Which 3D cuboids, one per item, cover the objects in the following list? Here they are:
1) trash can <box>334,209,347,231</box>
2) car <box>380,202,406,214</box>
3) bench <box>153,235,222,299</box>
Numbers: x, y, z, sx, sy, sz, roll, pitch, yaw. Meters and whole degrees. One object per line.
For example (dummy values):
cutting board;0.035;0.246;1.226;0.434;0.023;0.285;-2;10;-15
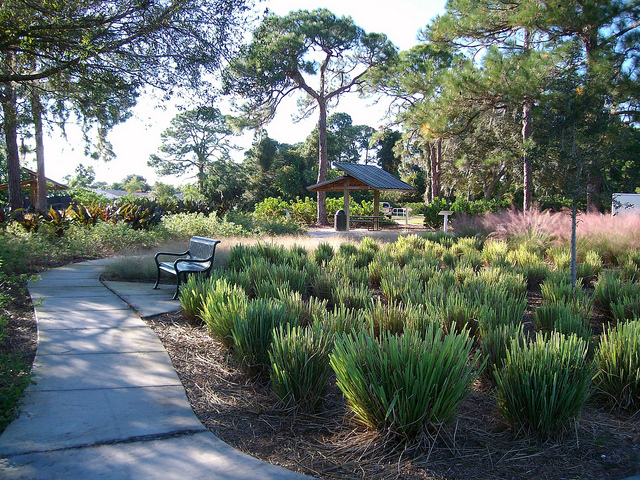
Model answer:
trash can;0.896;-0.856;23.592;0.688;1.398;0.767;1;5;10
car;5.620;-2.347;41.261;1.362;1.327;3.321;3;9;21
bench;-2.257;0.492;8.699;0.688;1.101;1.567;5;0;-29
